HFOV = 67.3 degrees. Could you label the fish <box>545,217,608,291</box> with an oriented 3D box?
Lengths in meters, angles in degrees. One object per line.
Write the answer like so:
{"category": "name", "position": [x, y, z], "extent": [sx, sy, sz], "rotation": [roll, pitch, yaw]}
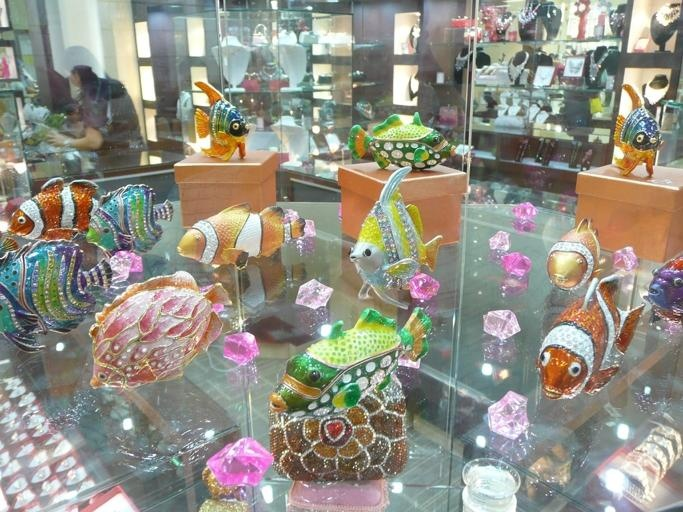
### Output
{"category": "fish", "position": [1.303, -0.030, 2.821], "extent": [0.209, 0.260, 0.456], "rotation": [5, 30, 33]}

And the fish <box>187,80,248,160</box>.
{"category": "fish", "position": [-0.828, -0.917, 3.492], "extent": [0.317, 0.519, 0.509], "rotation": [-9, 22, -15]}

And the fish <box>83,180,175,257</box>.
{"category": "fish", "position": [-1.299, -0.206, 3.097], "extent": [0.455, 0.380, 0.119], "rotation": [-22, 32, -24]}

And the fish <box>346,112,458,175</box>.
{"category": "fish", "position": [0.396, -0.737, 3.378], "extent": [0.628, 0.386, 0.384], "rotation": [3, 14, 8]}

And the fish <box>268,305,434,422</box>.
{"category": "fish", "position": [0.044, 0.447, 2.064], "extent": [0.560, 0.330, 0.170], "rotation": [-25, 30, -27]}

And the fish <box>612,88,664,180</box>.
{"category": "fish", "position": [1.786, -0.680, 3.084], "extent": [0.250, 0.415, 0.318], "rotation": [10, 25, 30]}

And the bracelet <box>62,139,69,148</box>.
{"category": "bracelet", "position": [-2.048, -0.834, 3.804], "extent": [0.039, 0.076, 0.021], "rotation": [6, 17, -23]}
